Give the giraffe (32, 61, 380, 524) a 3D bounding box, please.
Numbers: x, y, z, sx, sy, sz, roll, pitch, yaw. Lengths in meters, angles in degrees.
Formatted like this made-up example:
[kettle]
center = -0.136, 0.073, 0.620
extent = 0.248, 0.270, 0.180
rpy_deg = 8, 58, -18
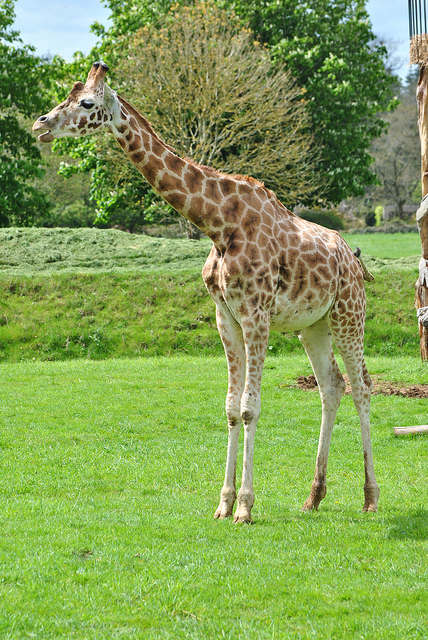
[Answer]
[giraffe]
center = 0.187, -0.309, 12.134
extent = 3.188, 4.702, 1.181
rpy_deg = -1, 3, -8
